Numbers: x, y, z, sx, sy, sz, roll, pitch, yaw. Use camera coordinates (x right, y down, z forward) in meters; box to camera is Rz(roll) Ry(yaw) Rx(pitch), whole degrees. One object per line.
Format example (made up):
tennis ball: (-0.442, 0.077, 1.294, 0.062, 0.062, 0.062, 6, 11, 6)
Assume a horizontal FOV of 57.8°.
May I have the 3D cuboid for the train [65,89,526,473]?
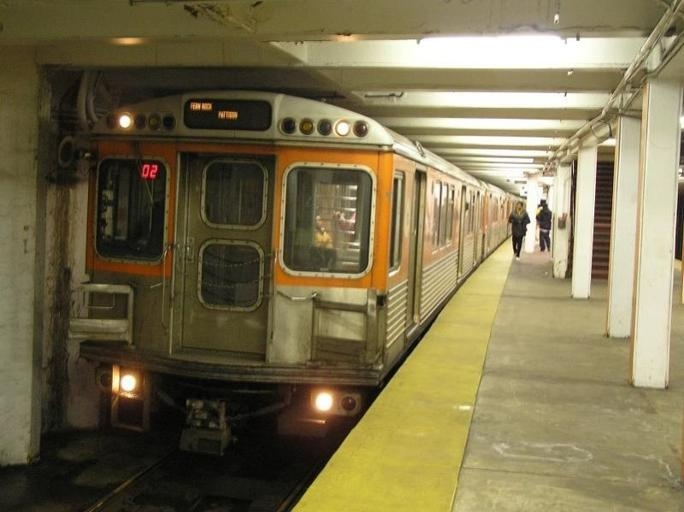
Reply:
train: (-0.676, 0.248, 7.306, 4.650, 4.145, 2.452, -2, 6, -26)
